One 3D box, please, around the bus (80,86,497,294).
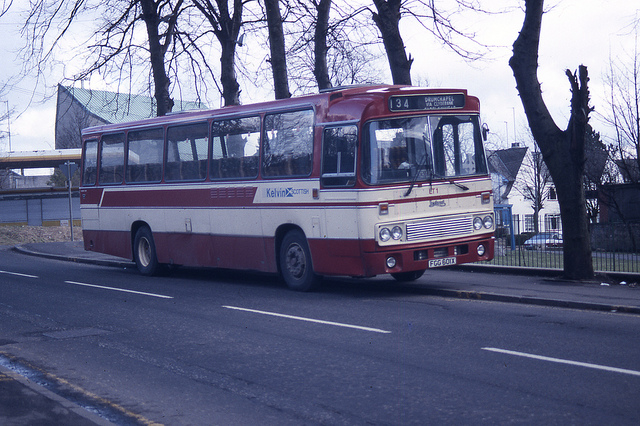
[{"bbox_3d":[-2.158,-0.542,16.044,14.069,5.019,3.240,0,2,39],"label":"bus"}]
